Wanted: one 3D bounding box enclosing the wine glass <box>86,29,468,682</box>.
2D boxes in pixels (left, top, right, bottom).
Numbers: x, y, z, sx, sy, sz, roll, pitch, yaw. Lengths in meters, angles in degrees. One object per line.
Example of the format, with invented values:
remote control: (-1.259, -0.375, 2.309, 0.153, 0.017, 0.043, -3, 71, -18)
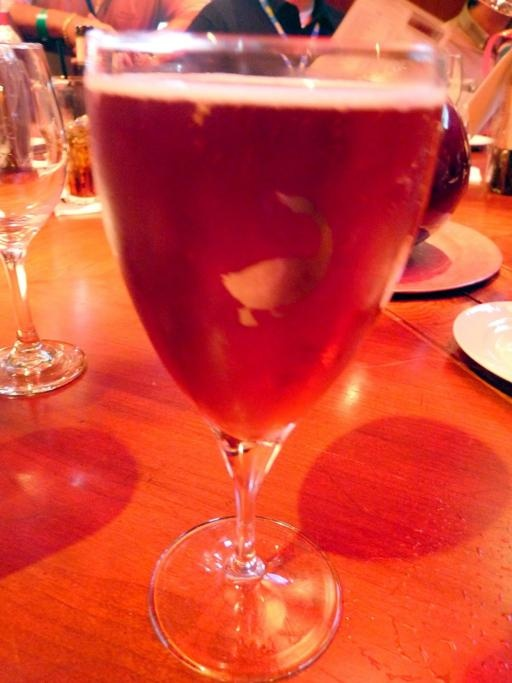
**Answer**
wine glass: (0.000, 0.023, 0.239, 0.108, 0.263, 0.115, 16, 28, 25)
